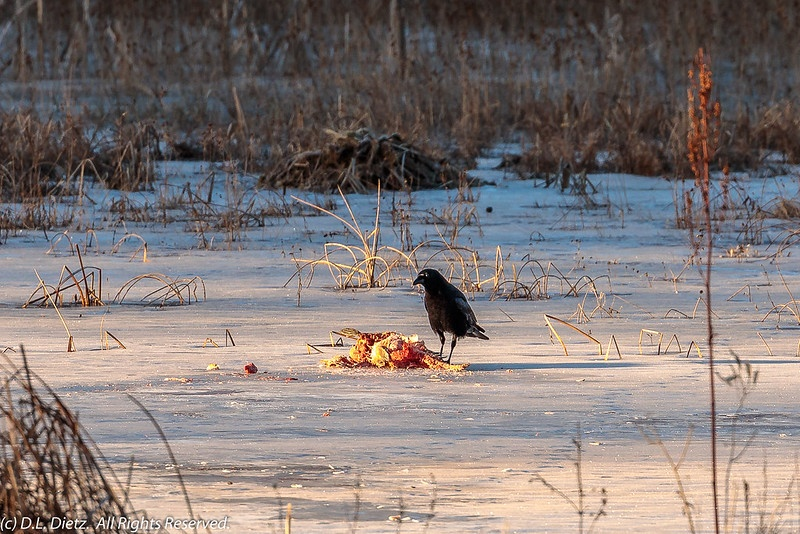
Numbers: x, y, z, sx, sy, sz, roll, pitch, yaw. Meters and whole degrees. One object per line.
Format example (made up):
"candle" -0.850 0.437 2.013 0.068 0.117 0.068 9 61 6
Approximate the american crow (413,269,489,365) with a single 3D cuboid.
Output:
"american crow" 0.423 0.383 12.520 0.538 0.788 0.478 -2 5 30
